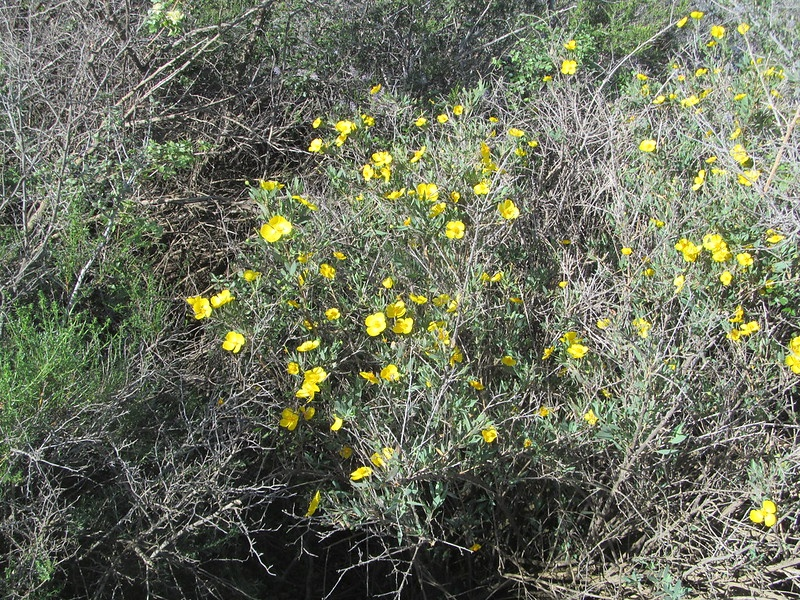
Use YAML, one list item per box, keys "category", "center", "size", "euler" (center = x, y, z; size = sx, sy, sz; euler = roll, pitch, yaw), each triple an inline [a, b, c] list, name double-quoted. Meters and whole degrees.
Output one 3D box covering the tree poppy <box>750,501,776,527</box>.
- category: "tree poppy"
  center: [1.543, 0.906, 2.674]
  size: [0.120, 0.034, 0.125]
  euler: [-5, 40, 15]
